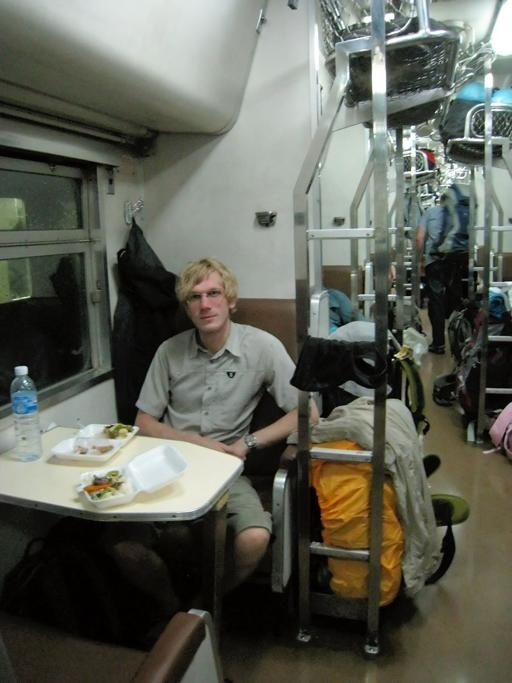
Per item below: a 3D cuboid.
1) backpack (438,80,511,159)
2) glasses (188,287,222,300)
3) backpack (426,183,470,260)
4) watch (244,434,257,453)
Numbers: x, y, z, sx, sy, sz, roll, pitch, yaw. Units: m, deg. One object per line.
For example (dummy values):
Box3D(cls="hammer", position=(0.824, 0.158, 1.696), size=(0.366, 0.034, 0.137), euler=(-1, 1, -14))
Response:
Box3D(cls="backpack", position=(1.615, -1.612, 4.185), size=(0.472, 0.240, 0.654), euler=(-2, -26, 0))
Box3D(cls="glasses", position=(-0.219, -0.206, 2.425), size=(0.154, 0.050, 0.057), euler=(-3, 13, -1))
Box3D(cls="backpack", position=(1.861, -1.139, 5.324), size=(0.186, 0.672, 0.380), euler=(-10, 15, -30))
Box3D(cls="watch", position=(-0.023, 0.401, 2.269), size=(0.044, 0.060, 0.062), euler=(-8, -13, -3))
